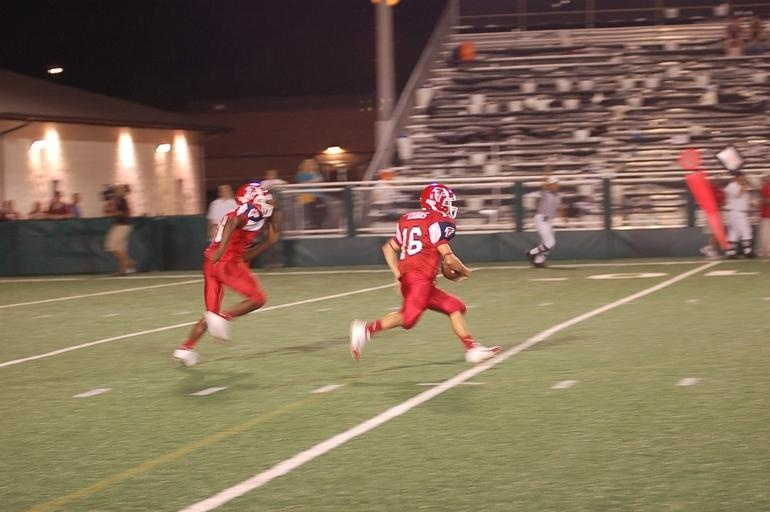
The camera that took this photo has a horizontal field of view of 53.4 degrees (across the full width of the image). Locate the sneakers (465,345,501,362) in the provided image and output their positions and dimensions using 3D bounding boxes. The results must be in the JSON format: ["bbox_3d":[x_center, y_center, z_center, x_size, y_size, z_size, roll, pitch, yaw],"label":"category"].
[{"bbox_3d":[0.955,0.989,7.793,0.355,0.159,0.151,-23,-23,3],"label":"sneakers"}]

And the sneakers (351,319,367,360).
[{"bbox_3d":[-0.265,0.836,7.702,0.250,0.335,0.168,0,-6,1],"label":"sneakers"}]

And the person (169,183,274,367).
[{"bbox_3d":[-1.768,0.193,8.591,1.117,1.989,1.373,-3,3,-7],"label":"person"}]

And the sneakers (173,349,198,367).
[{"bbox_3d":[-2.074,1.061,8.087,0.219,0.142,0.227,8,11,9],"label":"sneakers"}]

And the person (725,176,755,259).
[{"bbox_3d":[8.629,-1.019,18.731,0.603,2.082,0.763,-1,3,21],"label":"person"}]

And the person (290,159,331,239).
[{"bbox_3d":[-2.070,-1.691,21.281,0.791,1.890,1.227,-3,3,-6],"label":"person"}]

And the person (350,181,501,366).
[{"bbox_3d":[0.428,0.183,7.891,1.403,1.869,0.747,-2,3,4],"label":"person"}]

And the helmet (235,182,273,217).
[{"bbox_3d":[-1.454,-0.629,8.497,0.370,0.398,0.388,-2,2,-11],"label":"helmet"}]

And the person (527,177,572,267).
[{"bbox_3d":[3.691,-0.770,17.908,0.801,2.101,1.015,-2,3,9],"label":"person"}]

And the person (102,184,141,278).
[{"bbox_3d":[-7.118,-0.699,20.385,0.744,2.381,0.594,-2,3,5],"label":"person"}]

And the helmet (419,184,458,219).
[{"bbox_3d":[0.661,-0.546,8.064,0.490,0.281,0.316,9,-7,13],"label":"helmet"}]

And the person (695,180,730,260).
[{"bbox_3d":[8.405,-0.852,19.220,0.926,1.805,0.607,11,-4,-24],"label":"person"}]
